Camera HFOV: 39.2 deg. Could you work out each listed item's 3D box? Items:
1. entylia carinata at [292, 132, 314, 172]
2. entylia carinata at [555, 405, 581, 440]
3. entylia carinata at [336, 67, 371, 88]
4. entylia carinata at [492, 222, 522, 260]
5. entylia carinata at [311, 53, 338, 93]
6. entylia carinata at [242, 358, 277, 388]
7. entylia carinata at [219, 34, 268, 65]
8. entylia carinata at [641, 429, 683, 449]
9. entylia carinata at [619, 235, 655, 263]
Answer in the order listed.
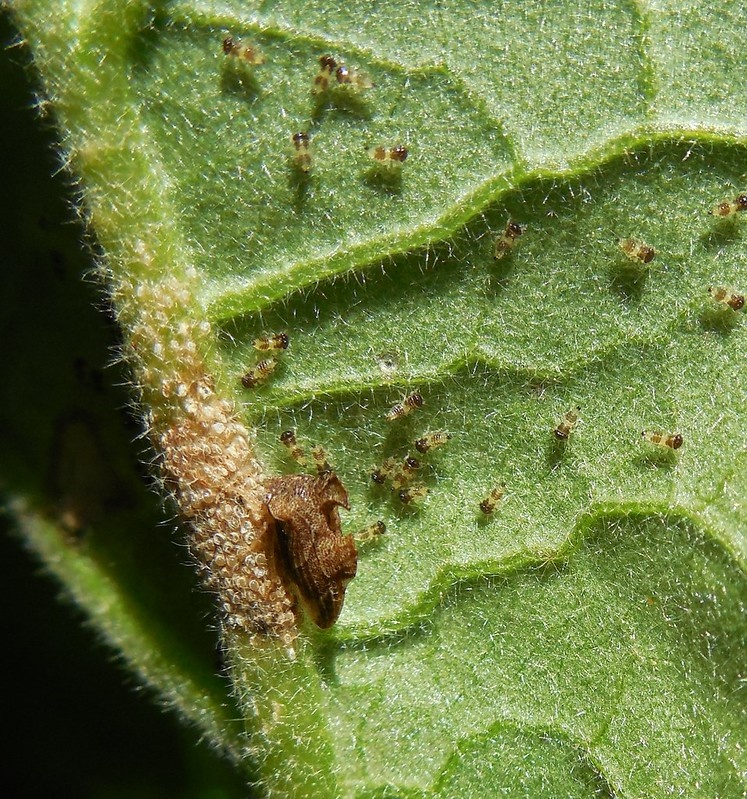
[{"bbox_3d":[-0.369,-1.297,5.529,0.108,0.056,0.203,-9,97,-15],"label":"entylia carinata"},{"bbox_3d":[1.043,0.136,5.644,0.086,0.072,0.180,30,77,-2],"label":"entylia carinata"},{"bbox_3d":[-0.108,-1.687,5.516,0.160,0.040,0.098,22,91,-14],"label":"entylia carinata"},{"bbox_3d":[0.720,-0.846,5.626,0.127,0.067,0.190,37,99,2],"label":"entylia carinata"},{"bbox_3d":[-0.247,-1.709,5.518,0.110,0.084,0.194,15,64,13],"label":"entylia carinata"},{"bbox_3d":[-0.601,-0.137,5.558,0.214,0.088,0.081,-24,61,-8],"label":"entylia carinata"},{"bbox_3d":[-0.664,-1.808,5.422,0.177,0.050,0.123,27,96,-18],"label":"entylia carinata"},{"bbox_3d":[1.557,0.212,5.614,0.143,0.074,0.108,9,95,12],"label":"entylia carinata"},{"bbox_3d":[1.414,-0.803,5.617,0.165,0.044,0.113,34,83,13],"label":"entylia carinata"}]
